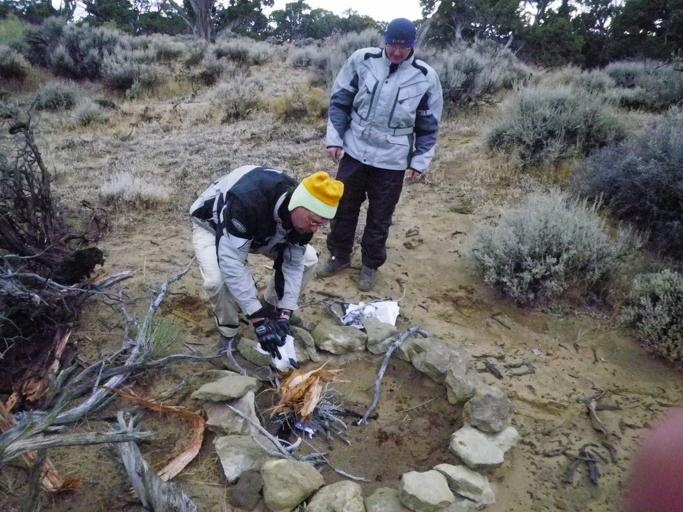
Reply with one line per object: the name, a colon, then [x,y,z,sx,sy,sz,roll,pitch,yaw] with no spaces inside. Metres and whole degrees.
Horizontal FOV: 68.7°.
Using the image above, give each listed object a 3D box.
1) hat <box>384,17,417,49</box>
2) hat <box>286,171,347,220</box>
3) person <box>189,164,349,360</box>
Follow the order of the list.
hat: [0.573,-2.166,4.860,0.293,0.256,0.355,10,27,2]
hat: [-0.248,-0.510,4.193,0.378,0.424,0.386,20,21,-22]
person: [-0.739,-0.019,4.525,1.299,1.753,0.879,20,28,20]
